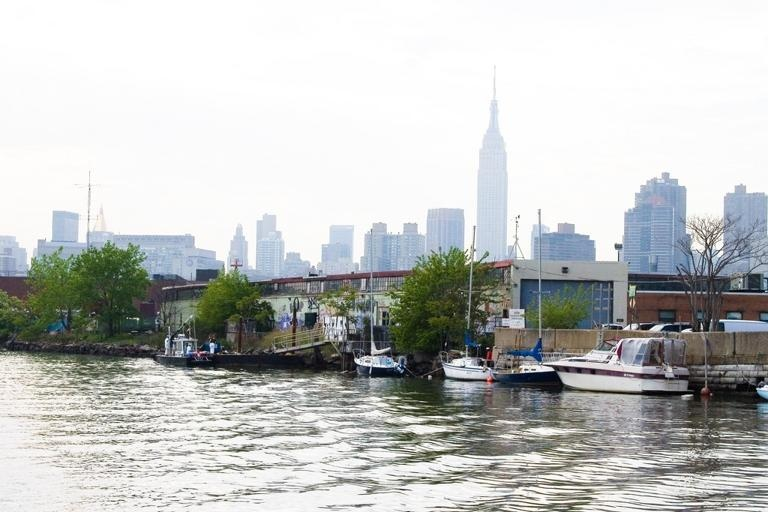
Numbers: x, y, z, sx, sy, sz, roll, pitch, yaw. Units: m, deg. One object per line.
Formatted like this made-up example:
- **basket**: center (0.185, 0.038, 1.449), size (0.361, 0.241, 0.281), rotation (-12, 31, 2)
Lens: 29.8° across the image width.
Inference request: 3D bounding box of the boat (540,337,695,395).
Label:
- **boat**: center (19.519, 9.403, 122.367), size (6.288, 4.464, 11.983), rotation (7, -7, -41)

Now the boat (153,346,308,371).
- **boat**: center (-15.669, 10.384, 146.911), size (14.203, 2.402, 8.675), rotation (-1, -5, -13)
